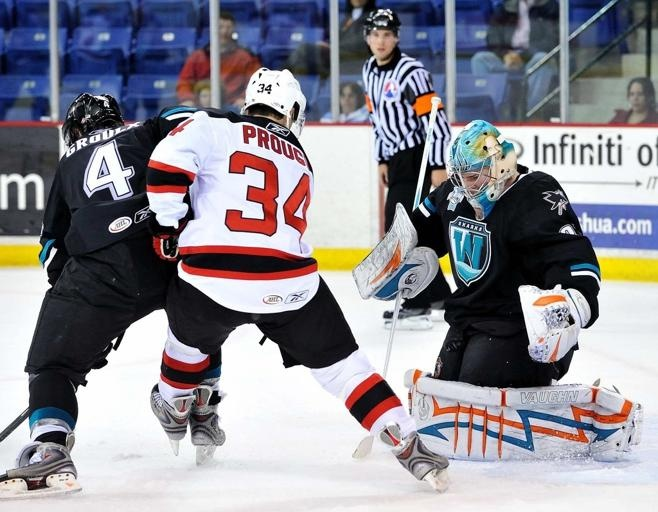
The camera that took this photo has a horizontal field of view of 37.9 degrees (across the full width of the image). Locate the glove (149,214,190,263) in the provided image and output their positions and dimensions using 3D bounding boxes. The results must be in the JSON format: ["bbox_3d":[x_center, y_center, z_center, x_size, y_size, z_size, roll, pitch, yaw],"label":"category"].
[{"bbox_3d":[-0.561,-0.056,3.313,0.115,0.169,0.081,0,26,1],"label":"glove"}]

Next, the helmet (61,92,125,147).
[{"bbox_3d":[-0.911,-0.518,3.796,0.234,0.241,0.190,-2,-5,33],"label":"helmet"}]

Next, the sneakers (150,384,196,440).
[{"bbox_3d":[-0.607,0.566,3.628,0.102,0.191,0.281,2,28,-18],"label":"sneakers"}]

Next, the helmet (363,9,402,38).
[{"bbox_3d":[0.309,-1.389,5.680,0.142,0.144,0.191,-1,1,-3],"label":"helmet"}]

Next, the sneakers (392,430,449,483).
[{"bbox_3d":[0.315,0.699,3.285,0.130,0.210,0.094,-41,-3,-2],"label":"sneakers"}]

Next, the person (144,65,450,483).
[{"bbox_3d":[-0.199,0.057,3.370,0.948,1.407,0.519,-1,9,-3],"label":"person"}]
